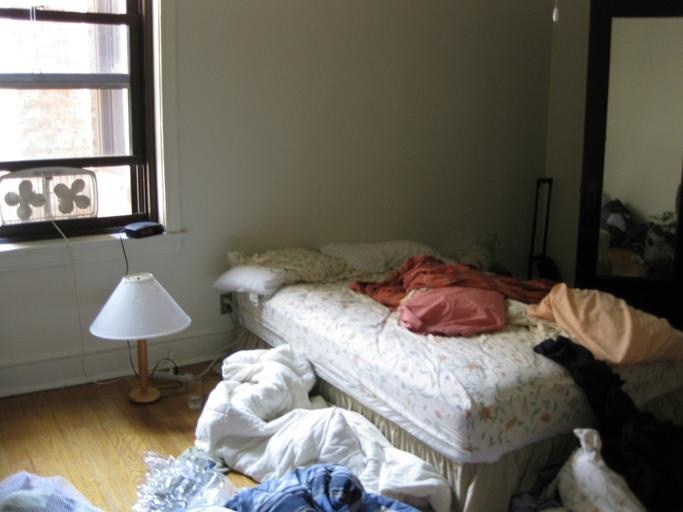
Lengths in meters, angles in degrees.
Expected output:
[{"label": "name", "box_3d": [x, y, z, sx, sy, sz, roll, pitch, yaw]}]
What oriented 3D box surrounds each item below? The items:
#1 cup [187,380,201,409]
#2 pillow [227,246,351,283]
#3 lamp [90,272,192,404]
[{"label": "cup", "box_3d": [-0.823, 0.779, 2.995, 0.091, 0.161, 0.089, 2, -10, 0]}, {"label": "pillow", "box_3d": [-0.270, 0.049, 3.400, 0.404, 0.121, 0.351, 3, 7, -41]}, {"label": "lamp", "box_3d": [-1.176, 0.479, 3.074, 0.456, 0.614, 0.451, -17, 27, -41]}]
